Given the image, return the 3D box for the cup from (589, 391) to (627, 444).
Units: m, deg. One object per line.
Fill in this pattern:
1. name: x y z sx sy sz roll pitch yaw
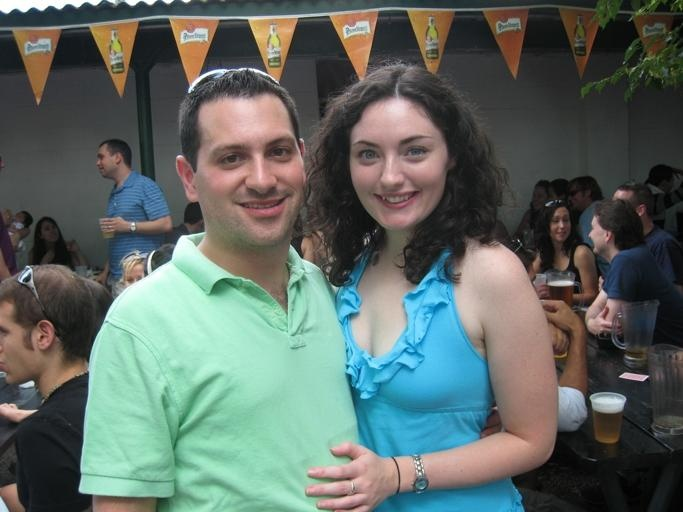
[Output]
1. cup: 1.162 0.701 2.655 0.178 0.223 0.188 0 -2 0

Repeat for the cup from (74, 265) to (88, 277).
1. cup: -2.796 0.179 6.421 0.108 0.124 0.101 0 6 0

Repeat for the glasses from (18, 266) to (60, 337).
1. glasses: -1.320 0.176 2.668 0.071 0.260 0.235 -33 21 -9

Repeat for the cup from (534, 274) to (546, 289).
1. cup: 1.455 0.199 4.393 0.042 0.046 0.081 -5 -24 -18
